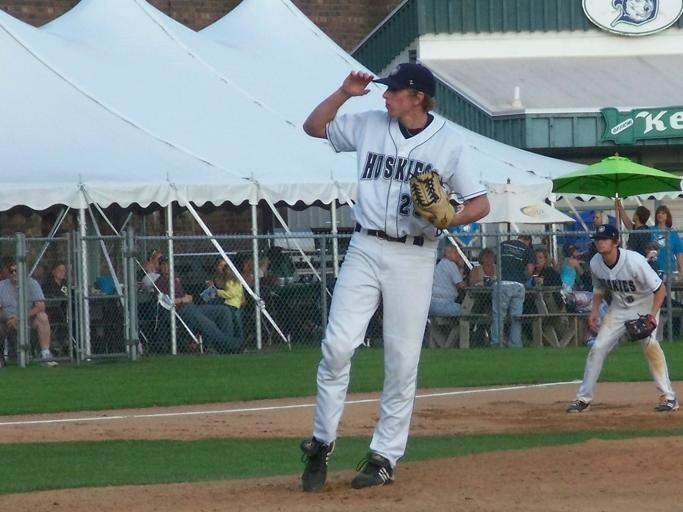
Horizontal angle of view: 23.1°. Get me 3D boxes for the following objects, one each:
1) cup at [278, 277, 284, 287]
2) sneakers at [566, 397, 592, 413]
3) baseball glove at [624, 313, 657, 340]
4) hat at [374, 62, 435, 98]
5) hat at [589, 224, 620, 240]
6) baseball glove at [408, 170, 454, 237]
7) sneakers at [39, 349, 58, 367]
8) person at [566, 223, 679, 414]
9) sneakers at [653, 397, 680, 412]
[{"bbox_3d":[-1.053,0.463,29.258,0.128,0.146,0.131,0,-7,0],"label":"cup"},{"bbox_3d":[3.364,2.150,23.762,0.381,0.148,0.146,5,-6,-40],"label":"sneakers"},{"bbox_3d":[4.256,1.023,23.723,0.402,0.312,0.151,-15,-35,6],"label":"baseball glove"},{"bbox_3d":[0.849,-2.173,20.636,0.600,0.329,0.395,4,7,-7],"label":"hat"},{"bbox_3d":[3.733,-0.331,23.711,0.335,0.235,0.328,4,13,23],"label":"hat"},{"bbox_3d":[1.116,-0.645,20.429,0.549,0.761,0.300,-1,12,3],"label":"baseball glove"},{"bbox_3d":[-4.779,1.676,27.321,0.247,0.248,0.263,-8,14,-30],"label":"sneakers"},{"bbox_3d":[4.035,0.893,23.794,1.447,2.662,0.847,0,12,7],"label":"person"},{"bbox_3d":[4.646,2.140,23.754,0.405,0.206,0.152,2,-3,-26],"label":"sneakers"}]
